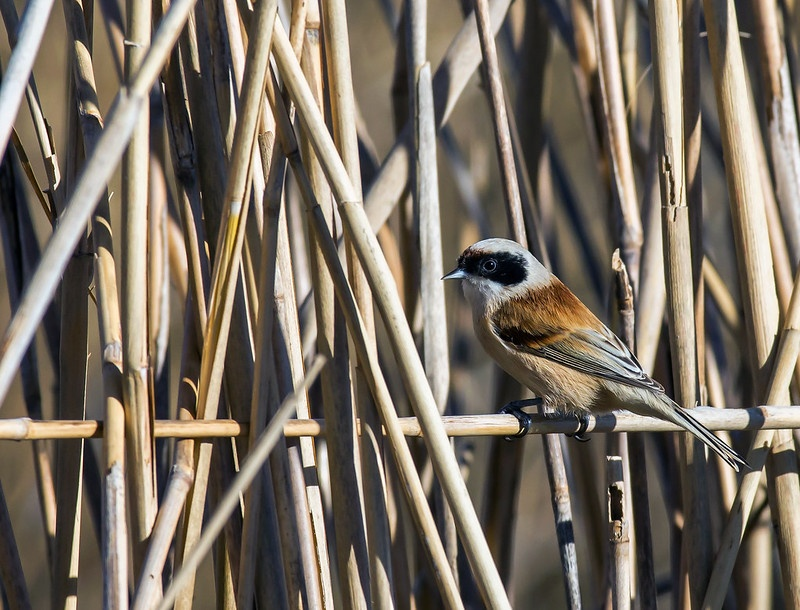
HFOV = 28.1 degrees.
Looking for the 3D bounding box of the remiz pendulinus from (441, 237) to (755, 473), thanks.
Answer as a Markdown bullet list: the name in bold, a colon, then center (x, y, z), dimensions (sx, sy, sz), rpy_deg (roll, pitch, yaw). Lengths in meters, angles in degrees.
- **remiz pendulinus**: center (0.754, 0.161, 6.269), dimensions (1.091, 0.774, 0.387), rpy_deg (4, -9, 21)
